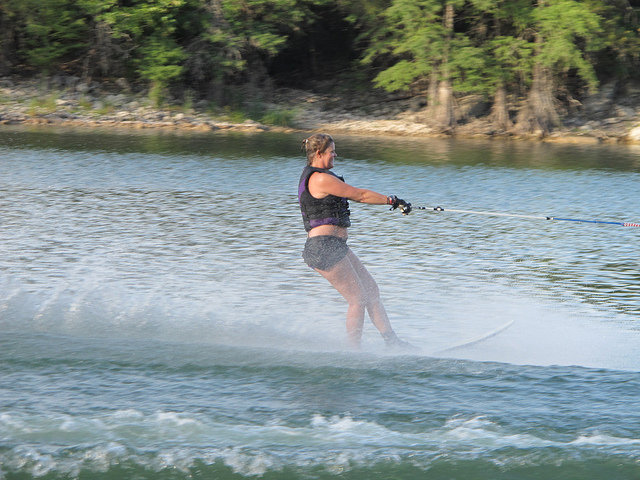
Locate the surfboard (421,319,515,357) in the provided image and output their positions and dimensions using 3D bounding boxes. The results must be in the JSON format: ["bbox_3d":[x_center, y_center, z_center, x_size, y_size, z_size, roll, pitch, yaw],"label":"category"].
[{"bbox_3d":[1.513,1.018,8.177,1.609,0.089,0.138,-5,25,-20],"label":"surfboard"}]
